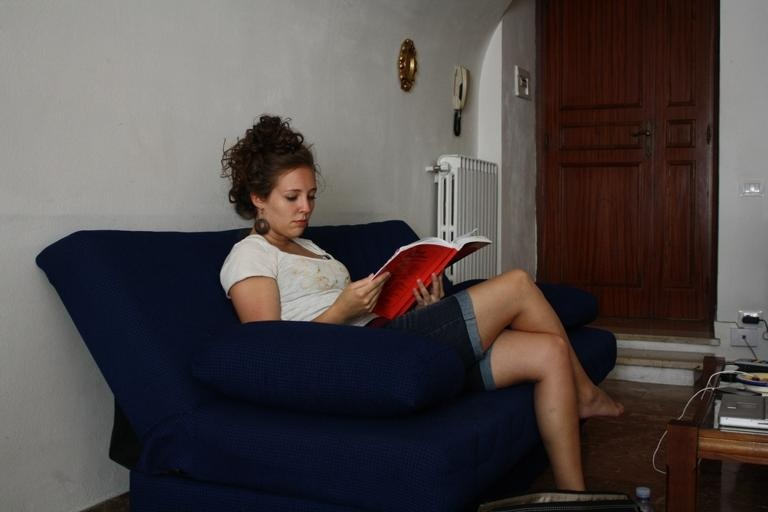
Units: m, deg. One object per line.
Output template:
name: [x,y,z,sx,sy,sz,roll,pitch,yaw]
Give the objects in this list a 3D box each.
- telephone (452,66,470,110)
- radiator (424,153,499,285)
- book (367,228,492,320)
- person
telephone: [0.542,-1.181,4.041,0.102,0.361,0.083,10,-10,-33]
radiator: [0.449,-0.236,3.373,0.226,0.792,0.800,-4,4,26]
book: [0.134,0.087,1.990,0.476,0.162,0.277,-25,-6,-46]
person: [0.140,0.111,2.058,1.565,1.255,0.716,1,8,18]
